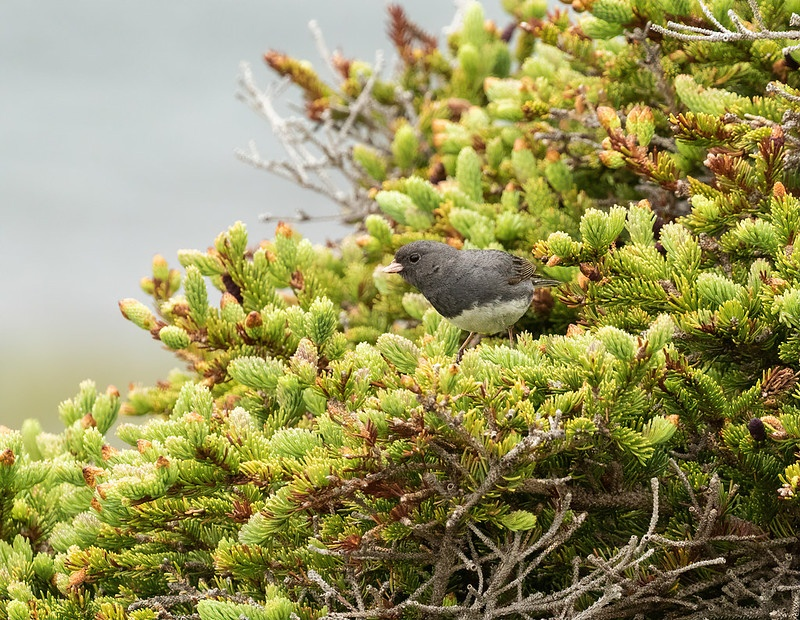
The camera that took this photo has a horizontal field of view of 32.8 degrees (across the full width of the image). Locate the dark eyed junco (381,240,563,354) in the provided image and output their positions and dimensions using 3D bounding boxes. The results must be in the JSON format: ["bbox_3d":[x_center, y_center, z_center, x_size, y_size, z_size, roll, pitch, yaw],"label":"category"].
[{"bbox_3d":[0.341,-0.061,5.692,0.814,0.597,0.400,-15,7,-29],"label":"dark eyed junco"}]
